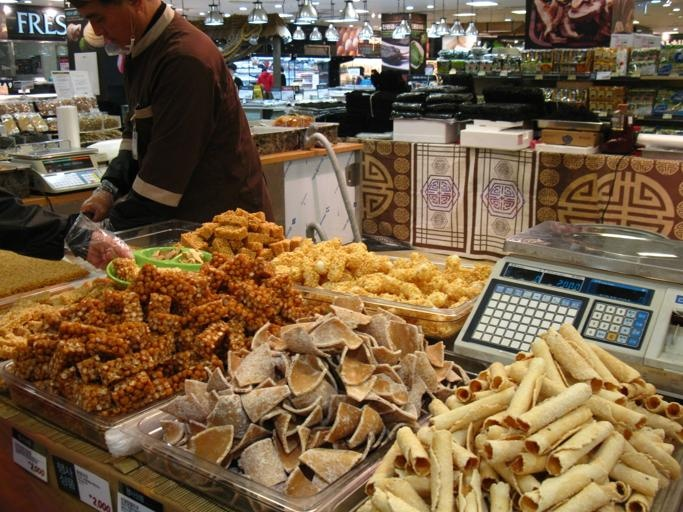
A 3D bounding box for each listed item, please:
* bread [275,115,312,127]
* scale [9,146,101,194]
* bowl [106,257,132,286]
[{"bbox_3d":[-0.437,-1.240,4.348,0.250,0.069,0.185,0,9,-5],"label":"bread"},{"bbox_3d":[-2.182,-0.692,3.644,0.608,0.195,0.474,26,30,28],"label":"scale"},{"bbox_3d":[-0.648,0.055,1.379,0.039,0.088,0.093,-9,-10,41],"label":"bowl"}]
